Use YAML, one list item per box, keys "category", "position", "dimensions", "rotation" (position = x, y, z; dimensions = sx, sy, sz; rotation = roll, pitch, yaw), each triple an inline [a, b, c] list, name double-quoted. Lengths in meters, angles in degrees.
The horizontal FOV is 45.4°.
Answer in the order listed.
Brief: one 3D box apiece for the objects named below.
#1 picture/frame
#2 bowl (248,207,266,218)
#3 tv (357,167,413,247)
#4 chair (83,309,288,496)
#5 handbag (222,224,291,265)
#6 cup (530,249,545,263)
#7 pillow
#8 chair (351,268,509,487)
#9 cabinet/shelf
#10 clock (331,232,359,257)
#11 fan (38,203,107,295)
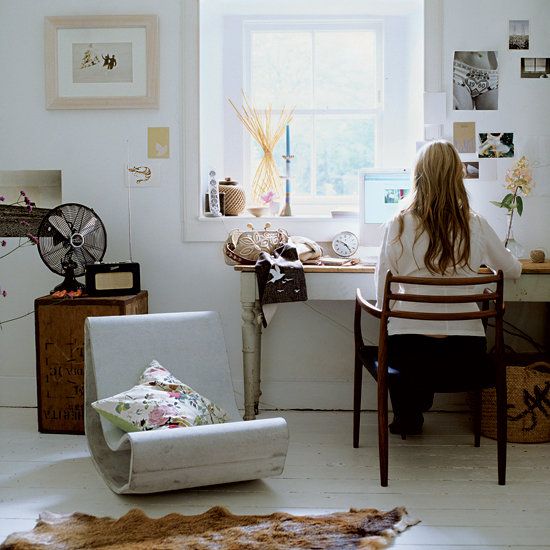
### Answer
- category: "picture/frame"
  position: [-0.911, -1.146, 3.509]
  dimensions: [0.402, 0.401, 0.034]
  rotation: [0, 5, 2]
- category: "bowl"
  position: [-0.098, -0.346, 3.634]
  dimensions: [0.106, 0.060, 0.060]
  rotation: [1, 8, 8]
- category: "tv"
  position: [0.531, -0.328, 3.166]
  dimensions: [0.358, 0.538, 0.037]
  rotation: [0, 5, -3]
- category: "chair"
  position: [-0.401, 0.496, 2.672]
  dimensions: [0.622, 0.685, 0.745]
  rotation: [1, 2, -30]
- category: "handbag"
  position: [-0.105, -0.153, 3.312]
  dimensions: [0.228, 0.107, 0.193]
  rotation: [-9, 35, 0]
- category: "cup"
  position: [1.303, -0.092, 3.268]
  dimensions: [0.053, 0.057, 0.059]
  rotation: [0, 1, 9]
- category: "pillow"
  position: [-0.458, 0.515, 2.676]
  dimensions: [0.512, 0.254, 0.357]
  rotation: [-1, 8, -5]
- category: "chair"
  position: [0.626, 0.374, 2.910]
  dimensions: [0.689, 1.233, 0.766]
  rotation: [-1, 6, 0]
- category: "cabinet/shelf"
  position: [-0.889, 0.437, 3.594]
  dimensions: [0.497, 0.946, 0.592]
  rotation: [1, 0, 1]
- category: "clock"
  position: [0.374, -0.164, 3.525]
  dimensions: [0.139, 0.131, 0.140]
  rotation: [0, 8, 4]
- category: "fan"
  position: [-1.037, -0.164, 3.370]
  dimensions: [0.323, 0.513, 0.197]
  rotation: [-2, 27, -27]
